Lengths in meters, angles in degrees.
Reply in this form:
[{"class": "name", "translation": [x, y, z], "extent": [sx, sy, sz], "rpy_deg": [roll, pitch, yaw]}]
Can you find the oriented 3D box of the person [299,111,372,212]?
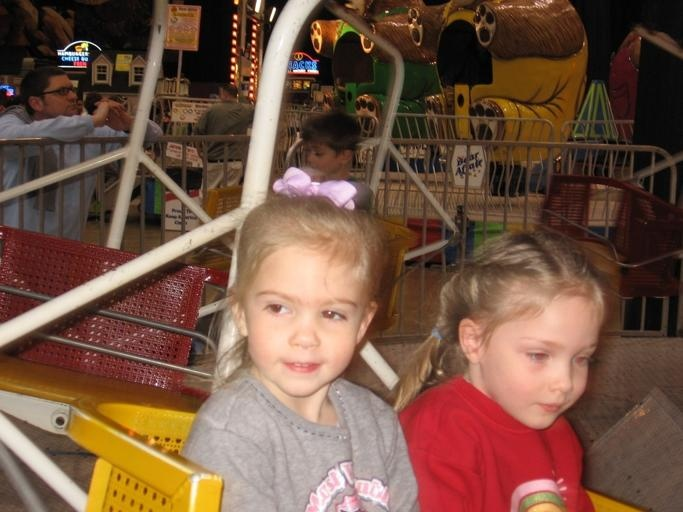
[{"class": "person", "translation": [-0.066, -0.764, 4.854], "extent": [0.502, 0.818, 0.468], "rpy_deg": [-8, 32, -19]}]
